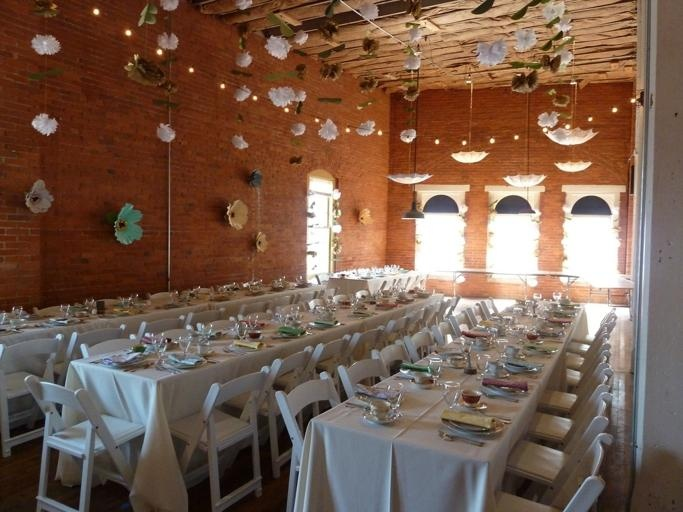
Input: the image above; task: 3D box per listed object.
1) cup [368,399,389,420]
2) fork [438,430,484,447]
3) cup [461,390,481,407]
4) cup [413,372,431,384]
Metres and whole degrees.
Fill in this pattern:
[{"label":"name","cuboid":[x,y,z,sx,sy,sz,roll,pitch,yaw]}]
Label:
[{"label":"cup","cuboid":[0.232,0.950,2.986,0.096,0.061,0.098,-1,0,0]},{"label":"fork","cuboid":[0.687,1.048,2.789,0.248,0.036,0.087,1,2,13]},{"label":"cup","cuboid":[0.854,0.935,3.186,0.098,0.055,0.092,-1,5,0]},{"label":"cup","cuboid":[0.599,0.885,3.523,0.083,0.054,0.074,-1,3,29]}]
